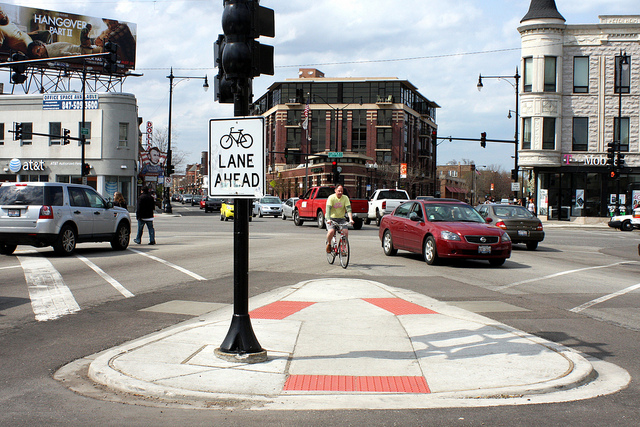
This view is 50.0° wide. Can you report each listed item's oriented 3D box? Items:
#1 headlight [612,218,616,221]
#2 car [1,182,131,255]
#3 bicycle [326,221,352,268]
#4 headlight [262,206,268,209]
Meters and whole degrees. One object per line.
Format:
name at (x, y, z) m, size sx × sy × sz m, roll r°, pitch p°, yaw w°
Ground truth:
headlight at (18.510, 0.386, 43.210) m, size 0.129 × 0.137 × 0.209 m, roll -2°, pitch 12°, yaw -11°
car at (-9.311, 0.094, 22.054) m, size 2.727 × 2.639 × 6.567 m, roll 1°, pitch -1°, yaw -28°
bicycle at (0.639, 0.938, 20.677) m, size 0.616 × 1.334 × 1.774 m, roll -3°, pitch 13°, yaw -14°
headlight at (-4.098, -0.406, 51.720) m, size 0.438 × 0.123 × 0.211 m, roll 3°, pitch 13°, yaw 12°
